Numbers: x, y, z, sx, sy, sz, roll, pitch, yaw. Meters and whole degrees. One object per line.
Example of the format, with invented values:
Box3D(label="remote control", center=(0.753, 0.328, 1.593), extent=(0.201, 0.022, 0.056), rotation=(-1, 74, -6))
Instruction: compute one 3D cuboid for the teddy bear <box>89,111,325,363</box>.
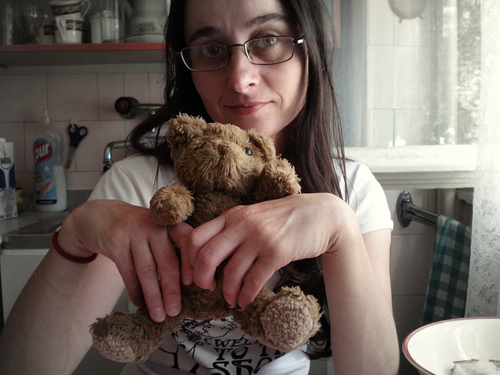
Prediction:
Box3D(label="teddy bear", center=(-0.086, 0.090, 0.812), extent=(0.425, 0.434, 0.170), rotation=(-1, 14, -1))

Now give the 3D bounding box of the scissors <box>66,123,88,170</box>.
Box3D(label="scissors", center=(-0.931, -0.219, 2.307), extent=(0.129, 0.240, 0.050), rotation=(-7, 15, -22))

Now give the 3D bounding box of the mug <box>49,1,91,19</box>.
Box3D(label="mug", center=(-0.853, -0.833, 1.988), extent=(0.106, 0.047, 0.096), rotation=(-2, 10, -25))

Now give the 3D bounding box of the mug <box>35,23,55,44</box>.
Box3D(label="mug", center=(-0.970, -0.736, 2.044), extent=(0.077, 0.098, 0.097), rotation=(22, 28, 30))

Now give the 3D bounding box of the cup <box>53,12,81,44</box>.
Box3D(label="cup", center=(-0.844, -0.749, 2.002), extent=(0.097, 0.118, 0.154), rotation=(4, 13, 5))
